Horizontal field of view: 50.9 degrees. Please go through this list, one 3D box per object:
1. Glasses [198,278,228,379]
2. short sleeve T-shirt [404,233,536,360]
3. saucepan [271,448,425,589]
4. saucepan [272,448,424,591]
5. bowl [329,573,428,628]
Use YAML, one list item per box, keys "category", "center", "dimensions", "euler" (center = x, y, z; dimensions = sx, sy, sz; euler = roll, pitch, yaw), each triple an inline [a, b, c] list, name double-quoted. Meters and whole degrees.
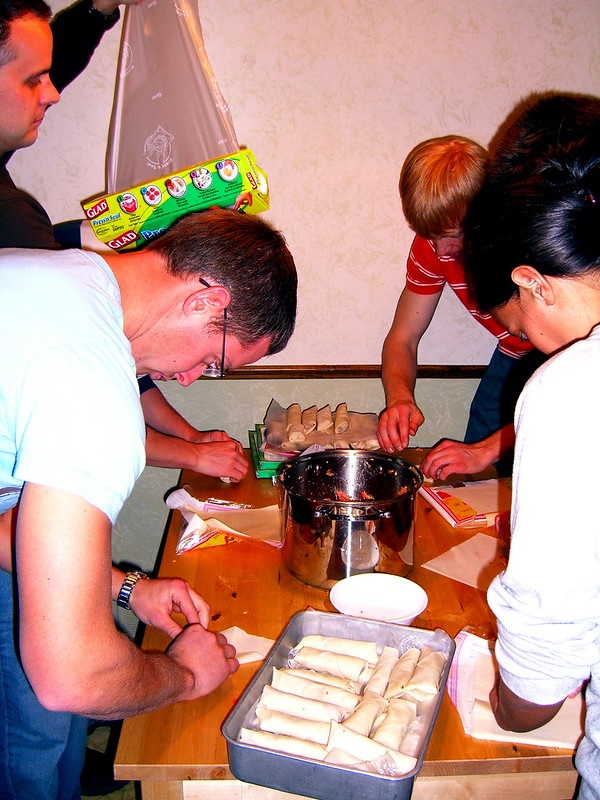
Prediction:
- category: "Glasses"
  center: [-0.124, -0.093, 0.973]
  dimensions: [0.033, 0.107, 0.106]
  euler: [8, 2, -14]
- category: "short sleeve T-shirt"
  center: [0.449, -0.362, 1.866]
  dimensions: [0.361, 0.151, 0.460]
  euler: [31, -10, 11]
- category: "saucepan"
  center: [0.093, 0.230, 1.229]
  dimensions: [0.276, 0.176, 0.284]
  euler: [7, 17, 23]
- category: "saucepan"
  center: [0.092, 0.225, 1.233]
  dimensions: [0.276, 0.166, 0.280]
  euler: [-2, 16, -10]
- category: "bowl"
  center: [0.132, 0.341, 1.076]
  dimensions: [0.102, 0.023, 0.097]
  euler: [0, 17, 0]
